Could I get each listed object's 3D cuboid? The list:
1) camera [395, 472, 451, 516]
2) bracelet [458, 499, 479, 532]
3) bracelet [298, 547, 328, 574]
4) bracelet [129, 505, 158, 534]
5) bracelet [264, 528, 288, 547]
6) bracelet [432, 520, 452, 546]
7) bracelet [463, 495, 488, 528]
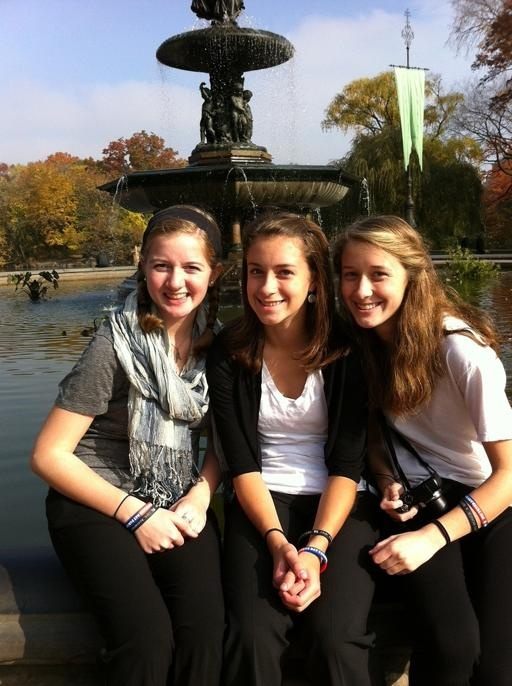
[{"bbox_3d":[0.587,0.527,2.073,0.141,0.142,0.127,-51,-22,-7],"label":"camera"},{"bbox_3d":[0.680,0.545,1.884,0.029,0.090,0.082,-18,-22,-7],"label":"bracelet"},{"bbox_3d":[0.181,0.673,1.873,0.027,0.075,0.078,-48,-9,9],"label":"bracelet"},{"bbox_3d":[-0.375,0.570,1.925,0.082,0.023,0.079,-36,3,-30],"label":"bracelet"},{"bbox_3d":[0.051,0.634,1.947,0.058,0.036,0.055,0,3,2],"label":"bracelet"},{"bbox_3d":[0.598,0.603,1.885,0.017,0.071,0.072,-27,17,-2],"label":"bracelet"},{"bbox_3d":[0.693,0.542,1.880,0.036,0.096,0.083,-35,11,-6],"label":"bracelet"}]
